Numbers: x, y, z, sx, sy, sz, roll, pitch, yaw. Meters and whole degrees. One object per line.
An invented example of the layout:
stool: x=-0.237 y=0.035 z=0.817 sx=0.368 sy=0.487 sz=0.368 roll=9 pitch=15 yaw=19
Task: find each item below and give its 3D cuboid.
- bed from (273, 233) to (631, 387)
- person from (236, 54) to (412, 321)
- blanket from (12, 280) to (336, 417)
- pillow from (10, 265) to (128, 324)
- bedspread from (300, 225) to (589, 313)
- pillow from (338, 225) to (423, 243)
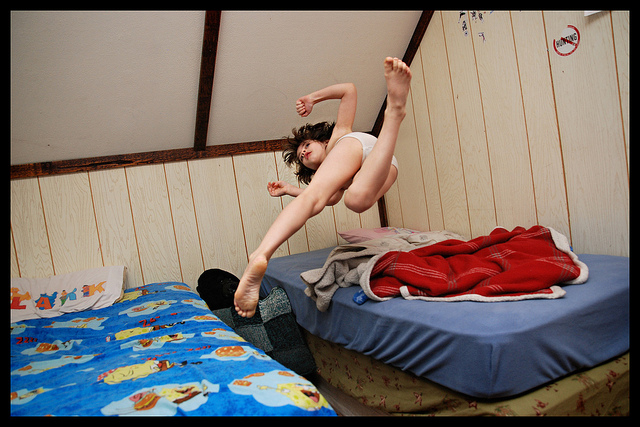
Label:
bed: x=0.599 y=0.375 z=1.947 sx=1.382 sy=0.425 sz=0.852 roll=-1 pitch=12 yaw=37
person: x=-0.071 y=-0.291 z=2.182 sx=0.795 sy=0.621 sz=1.536 roll=-18 pitch=31 yaw=32
blanket: x=-0.642 y=0.607 z=1.848 sx=0.710 sy=0.166 sz=0.690 roll=0 pitch=-5 yaw=-39
pillow: x=-1.598 y=0.497 z=2.561 sx=0.706 sy=0.110 sz=0.438 roll=-8 pitch=27 yaw=-13
bedspread: x=0.727 y=0.220 z=2.131 sx=1.028 sy=0.143 sz=0.865 roll=-16 pitch=4 yaw=13
pillow: x=0.429 y=0.153 z=3.209 sx=0.273 sy=0.070 sz=0.267 roll=-7 pitch=1 yaw=-23
